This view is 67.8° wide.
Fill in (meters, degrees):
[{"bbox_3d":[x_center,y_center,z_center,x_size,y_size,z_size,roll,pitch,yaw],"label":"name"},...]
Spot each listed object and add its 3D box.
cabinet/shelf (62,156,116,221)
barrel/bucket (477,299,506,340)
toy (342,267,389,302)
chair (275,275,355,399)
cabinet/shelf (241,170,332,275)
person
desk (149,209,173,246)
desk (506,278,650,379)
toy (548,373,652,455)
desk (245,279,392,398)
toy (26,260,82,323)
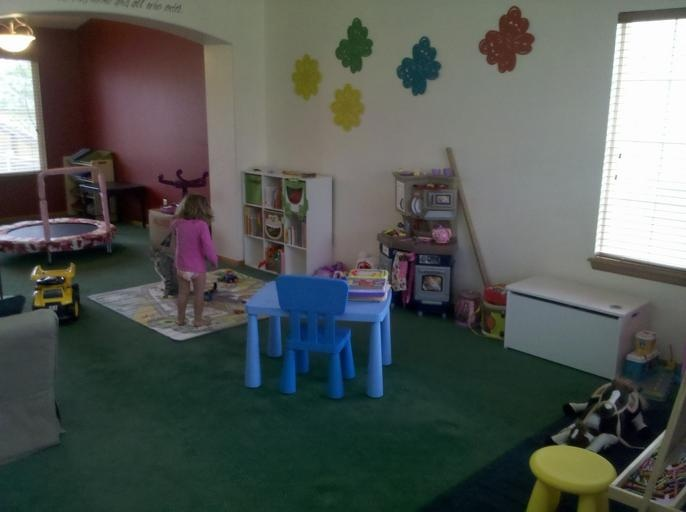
[{"bbox_3d":[-4.668,-1.280,9.501,1.218,1.409,0.438,9,12,43],"label":"cabinet/shelf"},{"bbox_3d":[1.491,0.634,5.278,0.310,0.356,0.321,-1,12,0],"label":"barrel/bucket"},{"bbox_3d":[0.212,0.232,4.289,0.262,0.117,0.271,-2,18,1],"label":"toy"},{"bbox_3d":[-0.208,0.600,4.259,0.594,1.022,0.477,2,12,6],"label":"chair"},{"bbox_3d":[-0.709,-0.485,6.899,1.223,1.294,0.408,9,12,41],"label":"cabinet/shelf"},{"bbox_3d":[-1.522,0.054,5.275,0.613,1.378,0.288,8,14,31],"label":"person"},{"bbox_3d":[-2.657,-0.425,7.500,0.433,0.457,0.387,13,20,33],"label":"desk"},{"bbox_3d":[2.174,0.643,4.888,1.076,0.643,0.626,12,19,42],"label":"desk"},{"bbox_3d":[1.944,1.147,3.808,0.866,0.355,0.587,-18,15,-35],"label":"toy"},{"bbox_3d":[-0.204,0.673,4.560,1.199,0.771,0.834,2,15,4],"label":"desk"},{"bbox_3d":[-3.197,0.417,5.684,0.474,0.578,0.832,-2,12,-22],"label":"toy"}]
